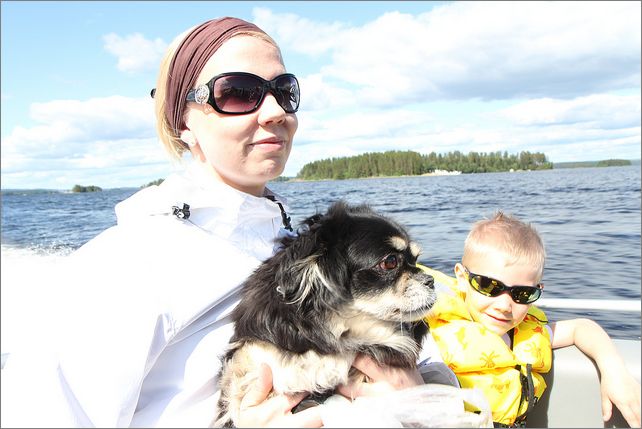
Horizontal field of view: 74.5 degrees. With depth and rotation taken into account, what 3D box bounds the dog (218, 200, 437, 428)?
[{"bbox_3d":[0.044,0.700,3.809,1.733,1.619,1.416,-5,-3,3],"label":"dog"}]
